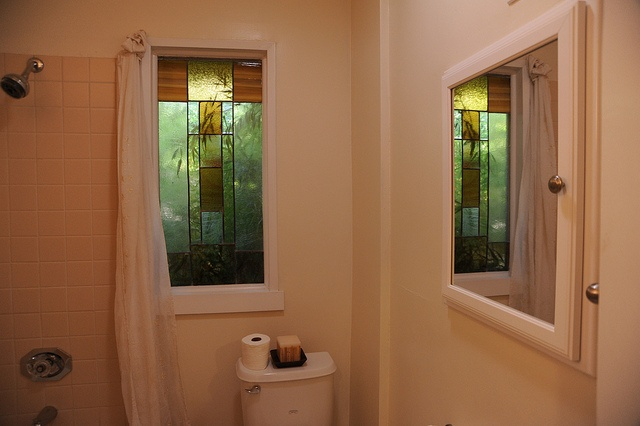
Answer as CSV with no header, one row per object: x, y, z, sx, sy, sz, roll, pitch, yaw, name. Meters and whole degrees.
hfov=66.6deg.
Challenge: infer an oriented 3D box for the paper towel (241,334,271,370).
-0.274,0.596,2.063,0.116,0.114,0.124,0,7,-6,paper towel
